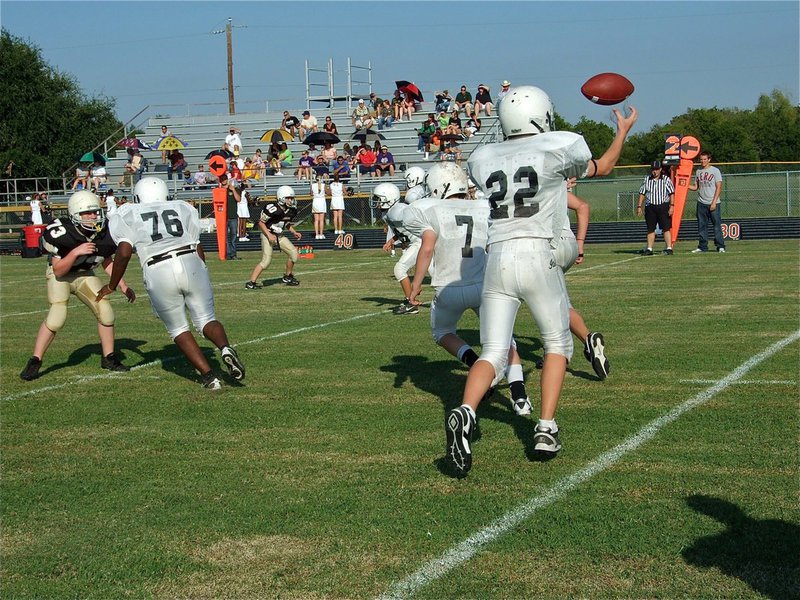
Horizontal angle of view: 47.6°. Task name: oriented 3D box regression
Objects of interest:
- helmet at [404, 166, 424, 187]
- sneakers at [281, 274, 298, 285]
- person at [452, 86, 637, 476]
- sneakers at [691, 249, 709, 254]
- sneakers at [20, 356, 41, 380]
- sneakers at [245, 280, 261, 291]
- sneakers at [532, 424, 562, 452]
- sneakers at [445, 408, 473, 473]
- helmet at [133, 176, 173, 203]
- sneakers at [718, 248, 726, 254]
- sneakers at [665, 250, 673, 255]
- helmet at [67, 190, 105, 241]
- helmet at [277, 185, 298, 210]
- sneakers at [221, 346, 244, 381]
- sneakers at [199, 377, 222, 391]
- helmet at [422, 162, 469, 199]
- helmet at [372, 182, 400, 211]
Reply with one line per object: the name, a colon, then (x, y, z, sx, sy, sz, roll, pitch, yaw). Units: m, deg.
helmet: (0.194, -1.718, 12.581, 0.324, 0.269, 0.238, -7, 14, 7)
sneakers: (-1.912, -0.373, 16.105, 0.414, 0.205, 0.139, 5, 18, 14)
person: (0.914, -0.179, 6.224, 1.101, 2.514, 1.592, 1, 12, 12)
sneakers: (6.612, -1.078, 20.020, 0.387, 0.146, 0.128, 2, 3, -7)
sneakers: (-3.587, 0.650, 8.755, 0.136, 0.123, 0.279, 7, 17, -19)
sneakers: (-2.628, -0.253, 15.748, 0.376, 0.156, 0.122, 4, 18, 21)
sneakers: (0.976, 0.923, 6.024, 0.170, 0.197, 0.130, -1, 12, 5)
sneakers: (0.403, 0.891, 5.851, 0.150, 0.437, 0.202, -4, -3, 18)
helmet: (-2.337, -1.055, 8.541, 0.261, 0.259, 0.319, -13, 26, -25)
sneakers: (7.047, -1.082, 19.857, 0.106, 0.083, 0.197, -2, -1, 16)
sneakers: (5.852, -1.047, 19.741, 0.126, 0.123, 0.090, 5, 7, 23)
helmet: (-3.156, -0.879, 8.869, 0.330, 0.356, 0.436, -11, 25, -42)
helmet: (-1.945, -1.763, 15.422, 0.296, 0.316, 0.388, -6, 11, -32)
sneakers: (-1.547, 0.590, 8.272, 0.130, 0.303, 0.151, -20, 11, 26)
sneakers: (-1.720, 0.758, 8.207, 0.206, 0.094, 0.084, 6, 8, 42)
helmet: (0.398, -1.052, 7.767, 0.360, 0.293, 0.271, 19, 29, 39)
helmet: (-0.312, -1.514, 13.248, 0.559, 0.440, 0.434, 2, 9, -5)
